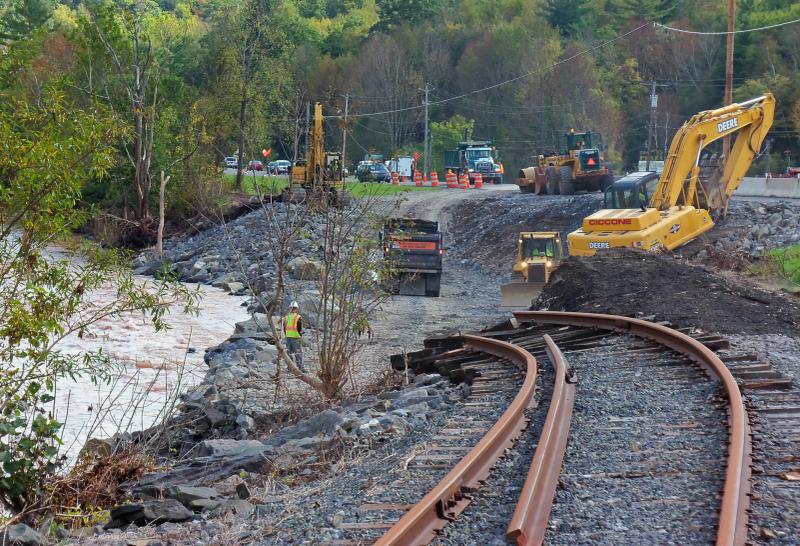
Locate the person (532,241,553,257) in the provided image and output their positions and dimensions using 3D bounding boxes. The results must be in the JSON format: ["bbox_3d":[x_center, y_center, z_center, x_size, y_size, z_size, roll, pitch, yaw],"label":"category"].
[{"bbox_3d":[4.548,-0.727,25.121,0.392,0.438,0.744,3,1,10],"label":"person"}]

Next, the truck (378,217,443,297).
[{"bbox_3d":[0.459,-0.501,27.828,1.950,2.528,3.970,2,3,1],"label":"truck"}]

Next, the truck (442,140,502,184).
[{"bbox_3d":[5.643,-8.437,60.657,2.367,2.729,5.429,-1,4,-12],"label":"truck"}]

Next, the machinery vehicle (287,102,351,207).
[{"bbox_3d":[-3.534,-4.669,33.262,1.886,3.904,6.469,0,0,-7],"label":"machinery vehicle"}]

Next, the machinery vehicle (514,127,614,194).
[{"bbox_3d":[9.078,-5.780,43.408,3.023,3.118,5.946,-1,4,-16],"label":"machinery vehicle"}]

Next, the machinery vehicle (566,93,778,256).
[{"bbox_3d":[8.401,-2.887,23.509,7.891,3.757,2.581,-19,15,-34],"label":"machinery vehicle"}]

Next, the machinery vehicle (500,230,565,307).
[{"bbox_3d":[4.496,-0.180,25.714,1.611,2.548,4.696,1,1,12],"label":"machinery vehicle"}]

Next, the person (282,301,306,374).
[{"bbox_3d":[-2.289,1.411,17.117,0.377,1.686,1.170,-2,12,-8],"label":"person"}]
